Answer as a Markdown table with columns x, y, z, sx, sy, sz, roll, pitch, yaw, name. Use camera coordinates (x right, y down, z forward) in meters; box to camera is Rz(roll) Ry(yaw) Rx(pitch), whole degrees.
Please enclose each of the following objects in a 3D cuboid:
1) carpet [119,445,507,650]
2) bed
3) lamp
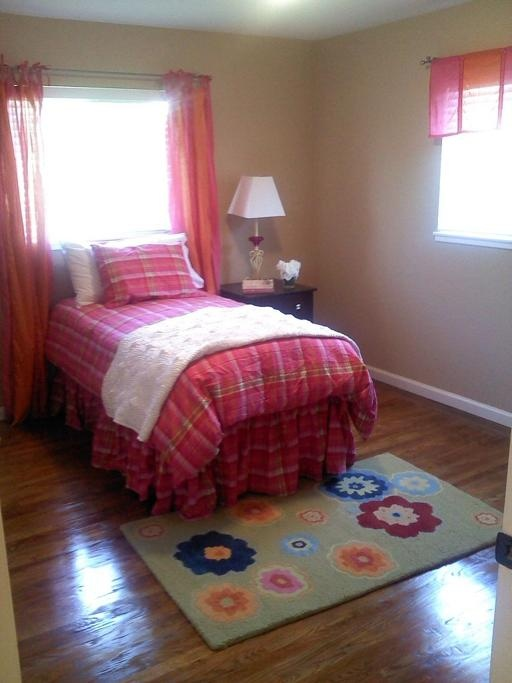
| x | y | z | sx | sy | sz | roll | pitch | yaw | name |
| --- | --- | --- | --- | --- | --- | --- | --- | --- | --- |
| 0.259 | 0.756 | 2.235 | 1.381 | 0.036 | 0.823 | -7 | 13 | -28 | carpet |
| -0.426 | 0.227 | 2.891 | 0.961 | 0.615 | 1.512 | -11 | 17 | -36 | bed |
| -0.010 | -0.791 | 4.097 | 0.373 | 0.805 | 0.458 | -5 | 13 | -16 | lamp |
